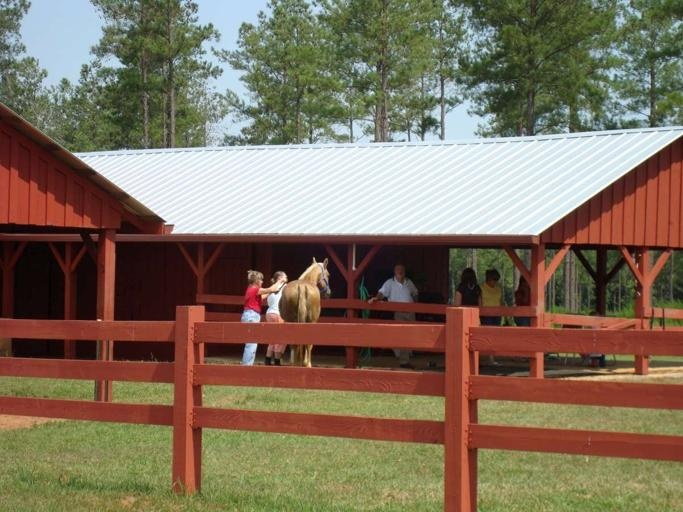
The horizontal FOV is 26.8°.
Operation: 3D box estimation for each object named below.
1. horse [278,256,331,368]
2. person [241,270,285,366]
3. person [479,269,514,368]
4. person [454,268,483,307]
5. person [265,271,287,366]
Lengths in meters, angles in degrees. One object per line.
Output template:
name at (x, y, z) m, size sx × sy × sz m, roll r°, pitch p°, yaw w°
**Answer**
horse at (-0.866, 1.516, 39.612) m, size 1.006 × 2.627 × 3.626 m, roll 2°, pitch 4°, yaw 8°
person at (-2.030, 1.357, 37.175) m, size 0.975 × 2.729 × 0.977 m, roll 2°, pitch 6°, yaw 4°
person at (4.241, 1.351, 40.095) m, size 1.074 × 3.409 × 0.985 m, roll 3°, pitch 7°, yaw 13°
person at (3.522, 0.772, 39.685) m, size 0.700 × 0.987 × 2.120 m, roll 0°, pitch 2°, yaw 5°
person at (-1.690, 1.658, 38.837) m, size 0.732 × 2.643 × 0.671 m, roll 1°, pitch 5°, yaw -13°
